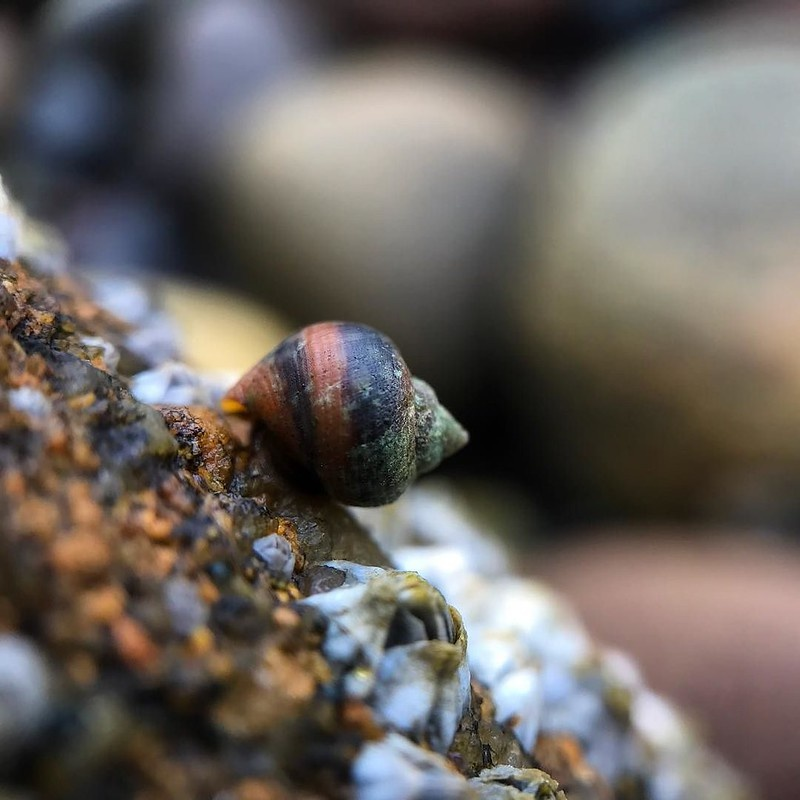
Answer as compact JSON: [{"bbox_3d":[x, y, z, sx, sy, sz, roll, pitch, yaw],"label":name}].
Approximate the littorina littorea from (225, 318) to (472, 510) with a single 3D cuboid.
[{"bbox_3d":[-0.086,0.000,1.516,0.310,0.225,0.205,8,-72,-11],"label":"littorina littorea"}]
